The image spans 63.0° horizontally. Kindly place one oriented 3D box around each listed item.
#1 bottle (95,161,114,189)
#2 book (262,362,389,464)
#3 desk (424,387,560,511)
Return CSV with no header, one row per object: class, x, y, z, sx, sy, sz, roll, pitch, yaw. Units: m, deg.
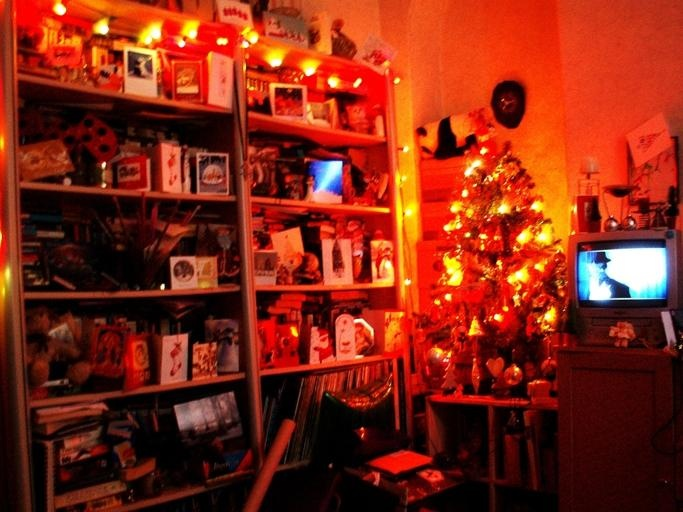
bottle,-1.177,-0.404,2.770,0.037,0.110,0.085,4,4,22
book,-0.053,0.831,3.225,0.551,0.168,0.551,-5,7,28
desk,0.877,1.116,3.179,0.731,0.682,0.238,-13,-21,39
